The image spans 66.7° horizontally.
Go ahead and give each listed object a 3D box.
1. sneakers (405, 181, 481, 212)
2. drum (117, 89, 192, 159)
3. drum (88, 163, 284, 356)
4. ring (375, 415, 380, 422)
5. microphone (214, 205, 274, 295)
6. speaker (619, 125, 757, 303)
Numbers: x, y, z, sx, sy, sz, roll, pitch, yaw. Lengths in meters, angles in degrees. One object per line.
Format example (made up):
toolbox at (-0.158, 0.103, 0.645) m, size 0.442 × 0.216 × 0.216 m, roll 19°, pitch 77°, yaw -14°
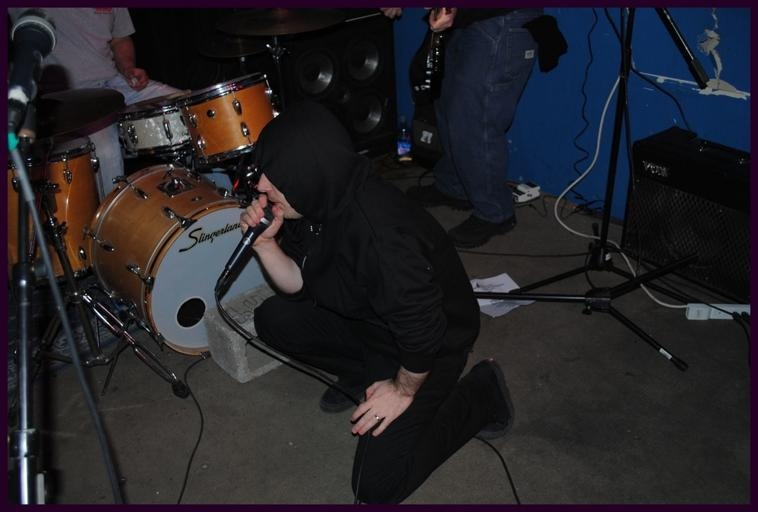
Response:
sneakers at (0.428, -0.415, 4.152) m, size 0.588 × 0.263 × 0.213 m, roll 6°, pitch 28°, yaw 5°
drum at (-1.303, -0.777, 3.460) m, size 0.388 × 0.244 × 0.403 m, roll -13°, pitch 21°, yaw 5°
drum at (-1.061, -0.096, 3.345) m, size 1.081 × 1.113 × 0.859 m, roll -19°, pitch 37°, yaw -38°
ring at (-0.007, 0.640, 2.271) m, size 0.021 × 0.014 × 0.005 m, roll 23°, pitch -7°, yaw -1°
microphone at (-0.641, -0.037, 2.697) m, size 0.074 × 0.153 × 0.520 m, roll 16°, pitch 64°, yaw 41°
speaker at (1.653, -0.212, 3.025) m, size 0.303 × 0.708 × 0.764 m, roll -24°, pitch 36°, yaw -31°
